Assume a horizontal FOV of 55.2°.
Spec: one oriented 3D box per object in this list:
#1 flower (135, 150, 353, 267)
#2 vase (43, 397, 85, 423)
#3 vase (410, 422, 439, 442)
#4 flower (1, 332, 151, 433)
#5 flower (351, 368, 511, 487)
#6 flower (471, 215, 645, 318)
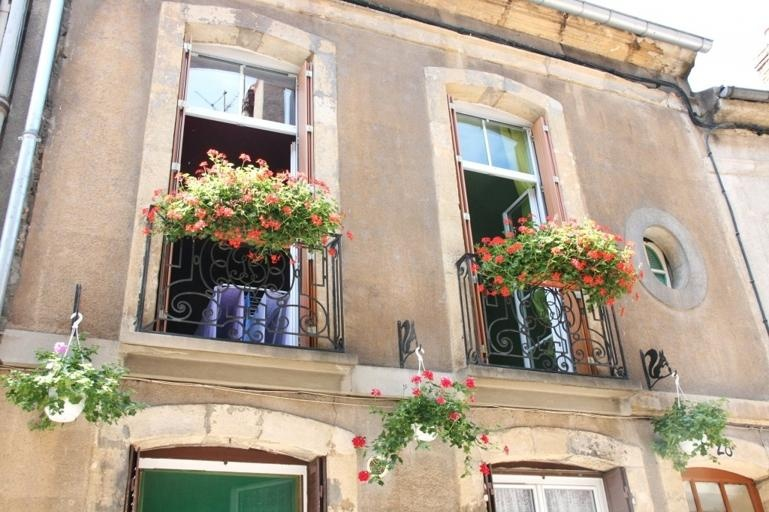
[{"bbox_3d":[-1.324,-0.439,7.107,1.437,0.654,1.402,15,16,22],"label":"flower"},{"bbox_3d":[-2.656,1.332,6.142,0.263,0.155,0.251,1,-23,-4],"label":"vase"},{"bbox_3d":[0.376,1.676,6.981,0.215,0.137,0.200,-15,-27,29],"label":"vase"},{"bbox_3d":[-2.622,1.108,6.277,1.023,0.709,0.868,5,-16,31],"label":"flower"},{"bbox_3d":[0.373,1.626,7.057,1.260,0.647,1.224,2,-10,-21],"label":"flower"},{"bbox_3d":[1.810,0.063,7.901,1.317,0.684,1.267,-4,-28,18],"label":"flower"}]
